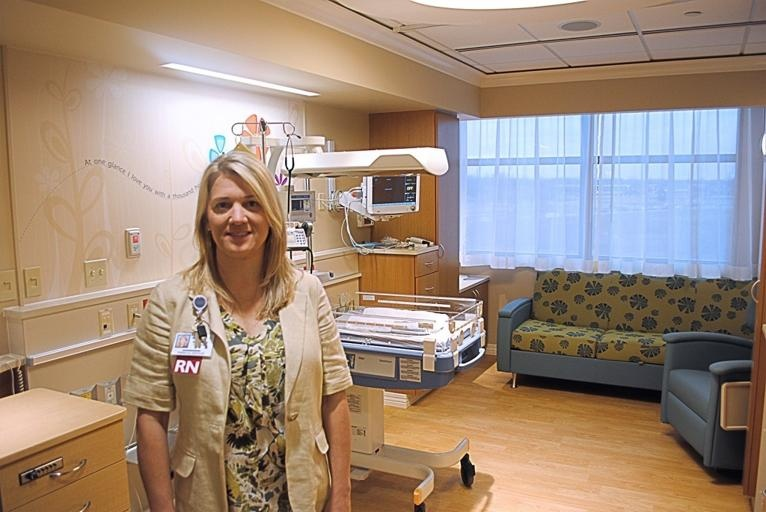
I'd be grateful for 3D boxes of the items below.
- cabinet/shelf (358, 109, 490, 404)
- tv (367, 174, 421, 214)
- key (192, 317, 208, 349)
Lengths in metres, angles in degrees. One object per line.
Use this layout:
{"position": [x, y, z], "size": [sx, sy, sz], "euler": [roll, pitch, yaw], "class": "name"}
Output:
{"position": [0.332, -0.066, 5.491], "size": [0.988, 2.762, 1.584], "euler": [4, 13, 21], "class": "cabinet/shelf"}
{"position": [0.113, -0.467, 4.083], "size": [0.435, 0.271, 0.236], "euler": [0, 8, 16], "class": "tv"}
{"position": [-0.643, 0.271, 1.871], "size": [0.041, 0.086, 0.063], "euler": [-9, 14, -31], "class": "key"}
